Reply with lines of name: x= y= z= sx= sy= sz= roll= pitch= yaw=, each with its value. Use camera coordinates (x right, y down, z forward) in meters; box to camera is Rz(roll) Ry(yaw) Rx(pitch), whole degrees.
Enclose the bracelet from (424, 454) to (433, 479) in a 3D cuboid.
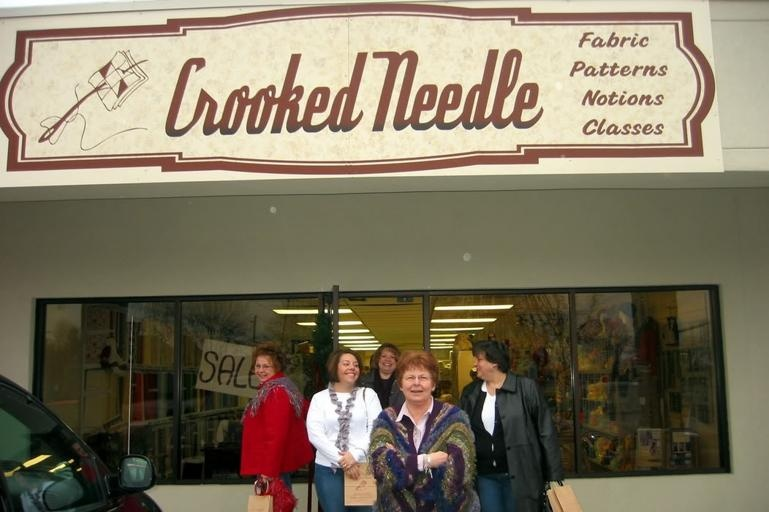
bracelet: x=0.407 y=1.915 z=6.790 sx=0.076 sy=0.207 sz=0.037 roll=0 pitch=-12 yaw=-7
